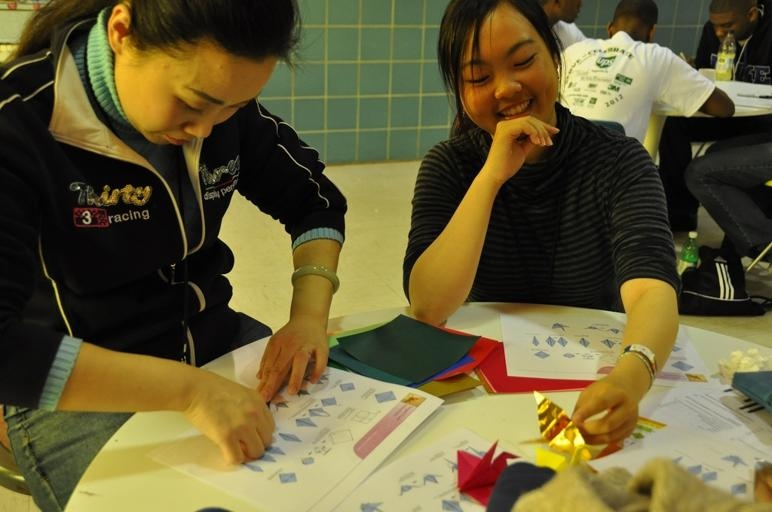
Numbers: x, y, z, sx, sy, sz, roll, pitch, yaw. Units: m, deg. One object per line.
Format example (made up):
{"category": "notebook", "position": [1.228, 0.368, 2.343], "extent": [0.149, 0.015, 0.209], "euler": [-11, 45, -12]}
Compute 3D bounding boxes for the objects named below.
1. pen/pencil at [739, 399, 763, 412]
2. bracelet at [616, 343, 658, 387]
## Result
{"category": "pen/pencil", "position": [0.746, 0.308, 1.222], "extent": [0.026, 0.008, 0.035], "euler": [-30, 25, -6]}
{"category": "bracelet", "position": [0.543, 0.238, 1.273], "extent": [0.067, 0.029, 0.076], "euler": [16, 51, -9]}
